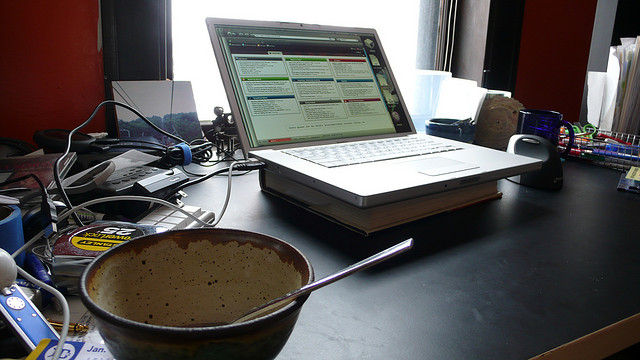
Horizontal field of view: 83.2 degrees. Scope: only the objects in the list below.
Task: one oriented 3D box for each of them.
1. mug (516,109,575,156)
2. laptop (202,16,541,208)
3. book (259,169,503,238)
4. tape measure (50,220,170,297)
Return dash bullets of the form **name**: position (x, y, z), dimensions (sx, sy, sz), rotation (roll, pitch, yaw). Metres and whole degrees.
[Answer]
- **mug**: position (0.753, -0.169, 1.222), dimensions (0.169, 0.184, 0.152), rotation (4, 4, 39)
- **laptop**: position (0.108, -0.220, 0.924), dimensions (0.619, 0.462, 0.480), rotation (-17, 21, -24)
- **book**: position (0.156, 0.025, 1.031), dimensions (0.546, 0.061, 0.506), rotation (-11, 11, -40)
- **tape measure**: position (-0.385, 0.129, 0.671), dimensions (0.219, 0.062, 0.195), rotation (7, 20, 17)
